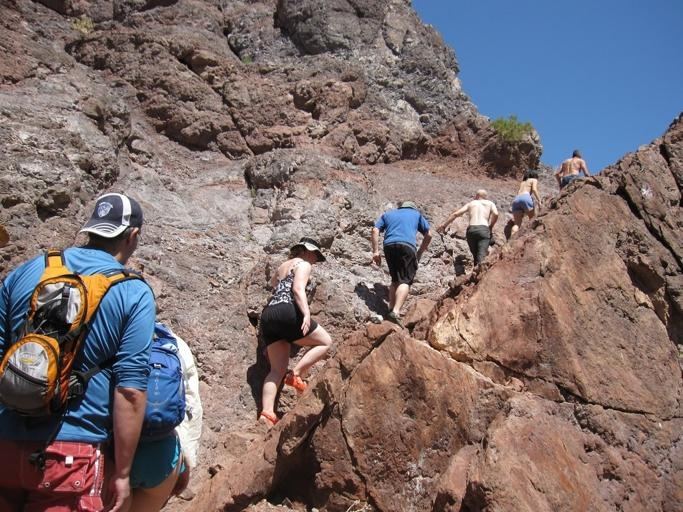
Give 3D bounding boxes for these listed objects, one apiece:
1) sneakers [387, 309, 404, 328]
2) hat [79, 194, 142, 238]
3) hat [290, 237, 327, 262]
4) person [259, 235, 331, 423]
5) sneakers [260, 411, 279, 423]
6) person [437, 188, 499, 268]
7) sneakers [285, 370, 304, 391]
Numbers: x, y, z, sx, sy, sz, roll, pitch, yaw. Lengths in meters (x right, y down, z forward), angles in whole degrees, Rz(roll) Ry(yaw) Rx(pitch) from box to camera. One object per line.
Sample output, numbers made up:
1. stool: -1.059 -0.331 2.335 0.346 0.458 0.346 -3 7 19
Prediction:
1. sneakers: 0.651 0.767 8.929 0.275 0.112 0.090 54 -44 -1
2. hat: -1.795 -0.315 5.758 0.280 0.265 0.474 8 10 14
3. hat: -0.369 -0.021 8.761 0.318 0.146 0.298 34 -24 -17
4. person: -0.580 0.838 8.568 0.775 2.209 0.786 2 -12 40
5. sneakers: -0.776 1.796 8.119 0.146 0.103 0.305 7 -12 25
6. person: 2.018 -0.396 11.253 0.618 0.985 0.475 5 -11 28
7. sneakers: -0.514 1.420 8.322 0.237 0.202 0.217 12 -10 -2
